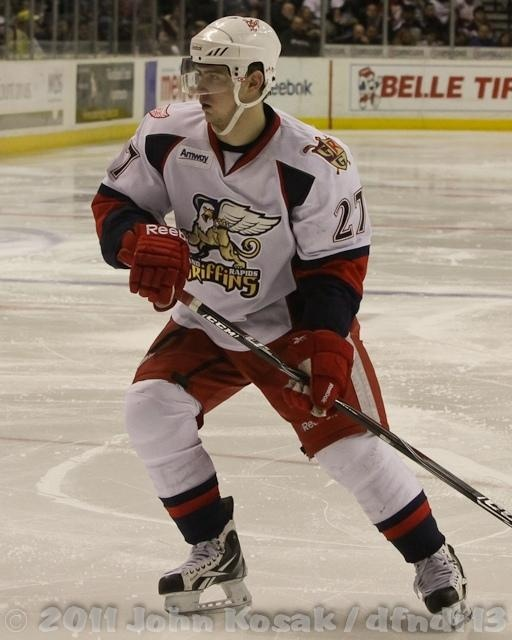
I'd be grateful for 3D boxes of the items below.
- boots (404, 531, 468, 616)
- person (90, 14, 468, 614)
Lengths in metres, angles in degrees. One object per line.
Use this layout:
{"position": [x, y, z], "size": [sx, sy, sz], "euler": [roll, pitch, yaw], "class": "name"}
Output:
{"position": [0.342, 0.483, 1.509], "size": [0.064, 0.071, 0.165], "euler": [-33, 5, 19], "class": "boots"}
{"position": [0.006, -0.045, 1.629], "size": [0.619, 1.185, 0.751], "euler": [-4, 12, -12], "class": "person"}
